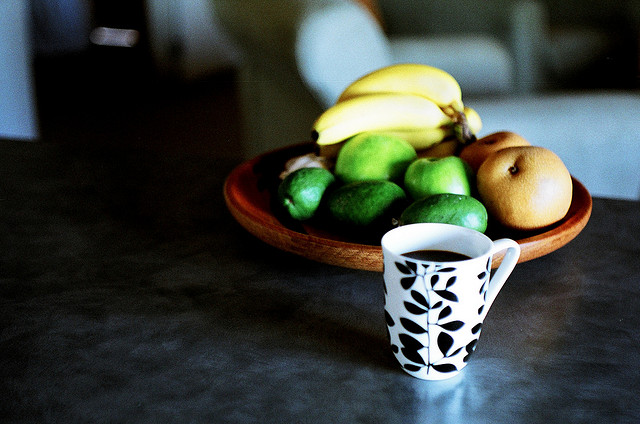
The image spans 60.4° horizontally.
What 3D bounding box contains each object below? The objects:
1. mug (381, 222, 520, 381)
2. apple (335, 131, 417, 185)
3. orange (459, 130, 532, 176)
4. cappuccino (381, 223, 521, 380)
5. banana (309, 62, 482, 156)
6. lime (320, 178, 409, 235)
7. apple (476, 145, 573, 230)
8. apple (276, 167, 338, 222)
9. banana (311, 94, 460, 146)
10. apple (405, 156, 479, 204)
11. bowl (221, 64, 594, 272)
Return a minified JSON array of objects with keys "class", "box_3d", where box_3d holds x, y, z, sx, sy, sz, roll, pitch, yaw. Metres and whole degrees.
[{"class":"mug","box_3d":[0.146,0.110,0.738,0.151,0.181,0.195,0,13,-9]},{"class":"apple","box_3d":[0.095,-0.092,0.918,0.099,0.076,0.104,-2,-3,5]},{"class":"orange","box_3d":[0.307,-0.089,0.974,0.117,0.068,0.126,-7,-18,23]},{"class":"cappuccino","box_3d":[0.151,0.110,0.683,0.161,0.161,0.114,9,29,16]},{"class":"banana","box_3d":[0.136,-0.187,1.062,0.291,0.167,0.098,-7,-18,-6]},{"class":"lime","box_3d":[0.085,-0.014,0.868,0.138,0.079,0.098,-11,2,33]},{"class":"apple","box_3d":[0.341,-0.059,0.913,0.161,0.120,0.130,8,19,22]},{"class":"apple","box_3d":[-0.018,-0.028,0.929,0.101,0.082,0.115,-3,12,2]},{"class":"banana","box_3d":[0.110,-0.191,1.005,0.226,0.096,0.139,-2,17,12]},{"class":"apple","box_3d":[0.183,-0.055,0.856,0.084,0.076,0.082,-7,4,-1]},{"class":"bowl","box_3d":[0.149,-0.092,0.868,0.425,0.150,0.411,1,23,0]}]
